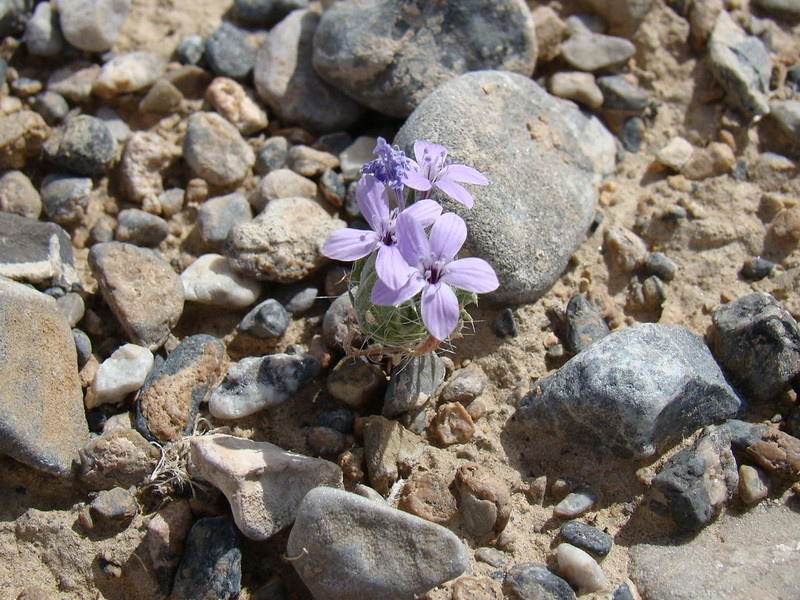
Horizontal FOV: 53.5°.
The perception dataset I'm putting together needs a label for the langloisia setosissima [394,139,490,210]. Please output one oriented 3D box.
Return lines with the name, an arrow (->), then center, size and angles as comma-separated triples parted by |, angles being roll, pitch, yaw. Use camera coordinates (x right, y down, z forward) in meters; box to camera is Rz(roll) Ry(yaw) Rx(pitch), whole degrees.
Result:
langloisia setosissima -> 0.235, -0.759, 4.774 | 0.427, 0.185, 0.441 | 34, 44, 15
